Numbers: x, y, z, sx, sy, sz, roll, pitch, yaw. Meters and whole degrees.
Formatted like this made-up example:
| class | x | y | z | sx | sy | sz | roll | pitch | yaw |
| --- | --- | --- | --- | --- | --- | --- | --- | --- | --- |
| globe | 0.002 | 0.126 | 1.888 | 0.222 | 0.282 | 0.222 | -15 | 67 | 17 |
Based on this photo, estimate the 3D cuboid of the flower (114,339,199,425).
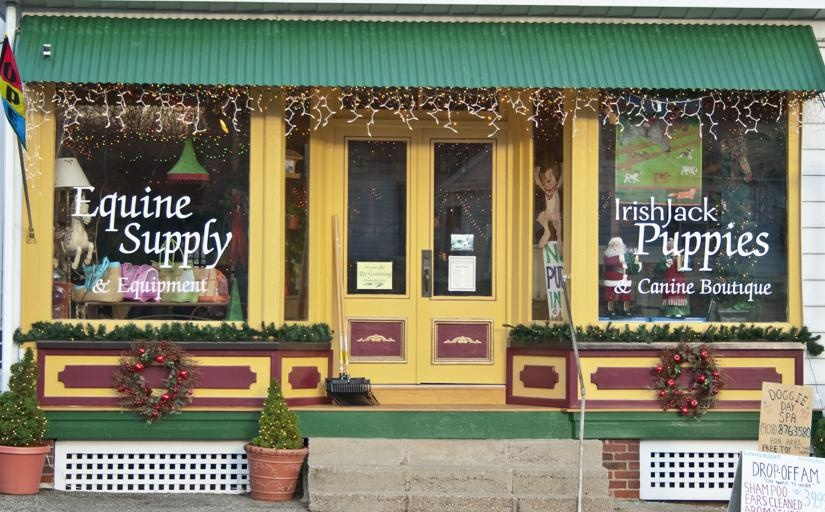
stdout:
| class | x | y | z | sx | sy | sz | roll | pitch | yaw |
| --- | --- | --- | --- | --- | --- | --- | --- | --- | --- |
| flower | -3.232 | 1.583 | 18.412 | 0.944 | 1.003 | 0.286 | 4 | 0 | -5 |

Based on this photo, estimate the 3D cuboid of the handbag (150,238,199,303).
| class | x | y | z | sx | sy | sz | roll | pitch | yaw |
| --- | --- | --- | --- | --- | --- | --- | --- | --- | --- |
| handbag | -3.055 | 0.227 | 18.605 | 0.859 | 1.106 | 0.410 | 0 | 2 | 0 |

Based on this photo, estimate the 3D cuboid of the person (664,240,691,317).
| class | x | y | z | sx | sy | sz | roll | pitch | yaw |
| --- | --- | --- | --- | --- | --- | --- | --- | --- | --- |
| person | 3.389 | 0.304 | 18.794 | 0.325 | 0.995 | 0.204 | 0 | 8 | 12 |

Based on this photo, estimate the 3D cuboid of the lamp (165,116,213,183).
| class | x | y | z | sx | sy | sz | roll | pitch | yaw |
| --- | --- | --- | --- | --- | --- | --- | --- | --- | --- |
| lamp | -2.870 | -1.338 | 18.658 | 0.703 | 0.745 | 0.300 | 2 | -5 | 17 |

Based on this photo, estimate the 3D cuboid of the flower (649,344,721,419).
| class | x | y | z | sx | sy | sz | roll | pitch | yaw |
| --- | --- | --- | --- | --- | --- | --- | --- | --- | --- |
| flower | 3.467 | 1.610 | 18.431 | 0.665 | 1.027 | 0.556 | -4 | 0 | -6 |

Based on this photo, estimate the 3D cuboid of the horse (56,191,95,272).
| class | x | y | z | sx | sy | sz | roll | pitch | yaw |
| --- | --- | --- | --- | --- | --- | --- | --- | --- | --- |
| horse | -4.283 | -0.285 | 18.545 | 0.387 | 0.961 | 0.343 | 6 | -2 | -10 |

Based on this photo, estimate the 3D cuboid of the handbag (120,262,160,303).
| class | x | y | z | sx | sy | sz | roll | pitch | yaw |
| --- | --- | --- | --- | --- | --- | --- | --- | --- | --- |
| handbag | -3.477 | 0.350 | 18.577 | 0.450 | 0.465 | 0.135 | 0 | 8 | 7 |

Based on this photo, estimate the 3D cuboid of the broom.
| class | x | y | z | sx | sy | sz | roll | pitch | yaw |
| --- | --- | --- | --- | --- | --- | --- | --- | --- | --- |
| broom | -0.816 | 0.693 | 18.900 | 0.661 | 2.337 | 1.119 | -1 | 8 | -1 |

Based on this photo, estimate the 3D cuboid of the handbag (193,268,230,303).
| class | x | y | z | sx | sy | sz | roll | pitch | yaw |
| --- | --- | --- | --- | --- | --- | --- | --- | --- | --- |
| handbag | -2.557 | 0.409 | 18.592 | 0.444 | 0.420 | 0.155 | 1 | -4 | -4 |

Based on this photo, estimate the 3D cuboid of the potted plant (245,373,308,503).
| class | x | y | z | sx | sy | sz | roll | pitch | yaw |
| --- | --- | --- | --- | --- | --- | --- | --- | --- | --- |
| potted plant | -1.693 | 2.302 | 17.979 | 0.739 | 1.503 | 0.278 | -2 | 8 | -7 |
